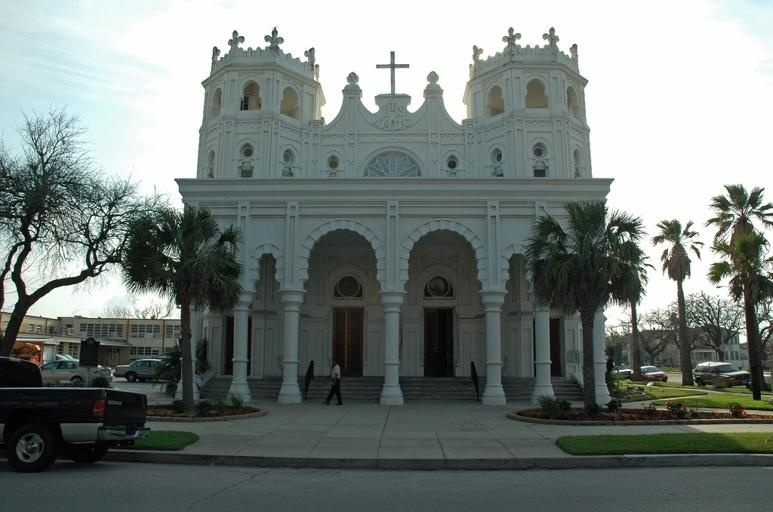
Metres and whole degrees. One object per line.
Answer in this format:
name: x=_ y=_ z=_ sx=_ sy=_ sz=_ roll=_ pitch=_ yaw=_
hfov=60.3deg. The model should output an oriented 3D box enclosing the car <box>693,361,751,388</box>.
car: x=21.832 y=7.760 z=43.847 sx=1.704 sy=1.369 sz=3.042 roll=1 pitch=-12 yaw=-11
